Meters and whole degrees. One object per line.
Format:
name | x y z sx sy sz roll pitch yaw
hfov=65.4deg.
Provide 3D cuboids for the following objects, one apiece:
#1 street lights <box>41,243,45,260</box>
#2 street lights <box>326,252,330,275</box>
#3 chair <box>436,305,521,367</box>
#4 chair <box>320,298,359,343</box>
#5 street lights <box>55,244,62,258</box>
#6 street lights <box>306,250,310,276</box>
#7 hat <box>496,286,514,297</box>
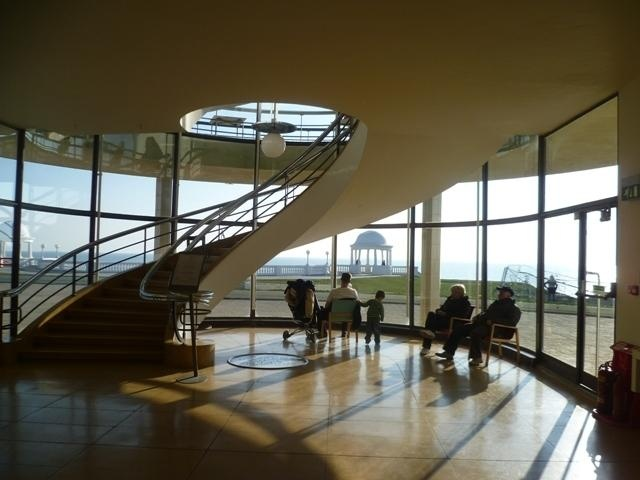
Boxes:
street lights | -5.515 0.208 9.945 0.024 0.344 0.098 2 -1 24
street lights | 0.200 0.561 12.524 0.093 0.535 0.121 3 -1 7
chair | 2.768 1.528 8.363 1.152 1.354 0.869 14 -9 -12
chair | 0.444 1.602 10.687 0.777 1.212 0.829 0 9 -7
street lights | -5.350 0.213 10.211 0.151 0.283 0.094 3 -1 -10
street lights | -0.307 0.552 12.451 0.088 0.588 0.361 3 -1 -1
hat | 3.130 0.846 8.489 0.161 0.127 0.224 4 9 -28
